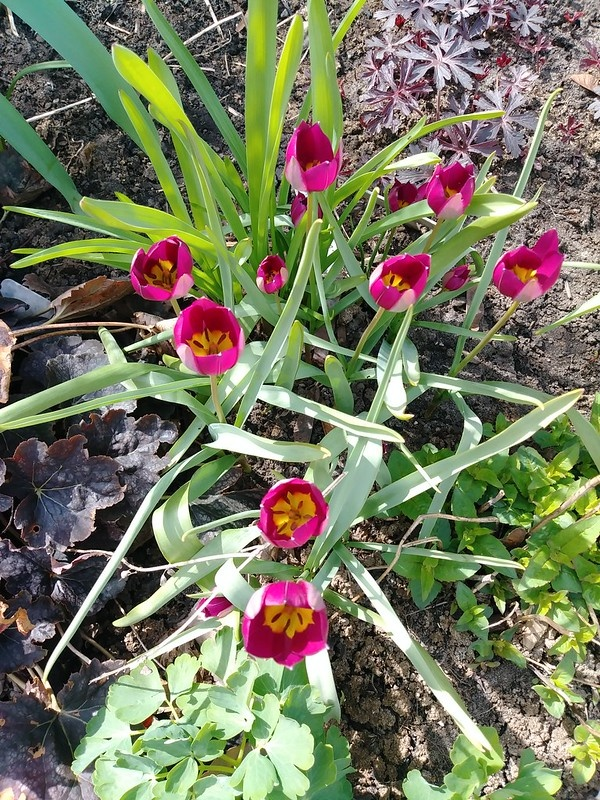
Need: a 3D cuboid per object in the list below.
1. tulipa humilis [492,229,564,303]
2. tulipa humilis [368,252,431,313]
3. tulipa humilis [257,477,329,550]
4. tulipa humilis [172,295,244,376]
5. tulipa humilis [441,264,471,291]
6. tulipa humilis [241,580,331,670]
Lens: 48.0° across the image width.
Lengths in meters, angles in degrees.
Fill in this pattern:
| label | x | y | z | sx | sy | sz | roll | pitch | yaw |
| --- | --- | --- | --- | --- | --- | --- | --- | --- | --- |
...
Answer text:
| label | x | y | z | sx | sy | sz | roll | pitch | yaw |
| --- | --- | --- | --- | --- | --- | --- | --- | --- | --- |
| tulipa humilis | 0.420 | -0.233 | 1.248 | 0.112 | 0.087 | 0.144 | 9 | 60 | 5 |
| tulipa humilis | 0.170 | -0.207 | 1.168 | 0.084 | 0.101 | 0.109 | 24 | 62 | 8 |
| tulipa humilis | -0.016 | 0.195 | 1.074 | 0.130 | 0.133 | 0.105 | -6 | 80 | -6 |
| tulipa humilis | -0.148 | -0.101 | 1.119 | 0.124 | 0.140 | 0.126 | -18 | 85 | -6 |
| tulipa humilis | 0.332 | -0.265 | 1.452 | 0.033 | 0.067 | 0.037 | 31 | 54 | -17 |
| tulipa humilis | -0.025 | 0.332 | 1.003 | 0.123 | 0.126 | 0.108 | 1 | 61 | -4 |
